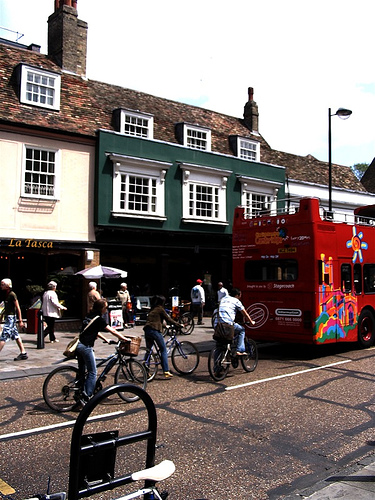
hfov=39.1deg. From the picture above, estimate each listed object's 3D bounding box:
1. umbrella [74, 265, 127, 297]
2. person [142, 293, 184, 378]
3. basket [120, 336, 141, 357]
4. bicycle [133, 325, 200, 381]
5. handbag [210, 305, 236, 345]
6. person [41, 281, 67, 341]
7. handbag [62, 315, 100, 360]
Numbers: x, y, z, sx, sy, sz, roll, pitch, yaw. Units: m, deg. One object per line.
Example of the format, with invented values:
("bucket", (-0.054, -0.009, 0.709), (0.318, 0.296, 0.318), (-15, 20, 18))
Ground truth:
("umbrella", (-3.272, 1.154, 19.264), (1.247, 0.773, 1.241), (5, -7, -33))
("person", (-0.455, 1.519, 9.125), (0.607, 1.433, 0.534), (0, -3, 0))
("basket", (-0.879, 1.482, 8.087), (0.284, 0.269, 0.311), (7, -28, -8))
("bicycle", (-0.257, 1.987, 9.629), (1.504, 0.863, 0.713), (-12, 4, -27))
("handbag", (0.697, 1.322, 9.473), (0.377, 0.558, 0.257), (8, 14, -5))
("person", (-3.876, 1.789, 15.045), (0.548, 1.746, 1.554), (0, -3, -16))
("handbag", (-1.468, 1.214, 7.307), (0.468, 0.610, 0.449), (0, -3, -13))
